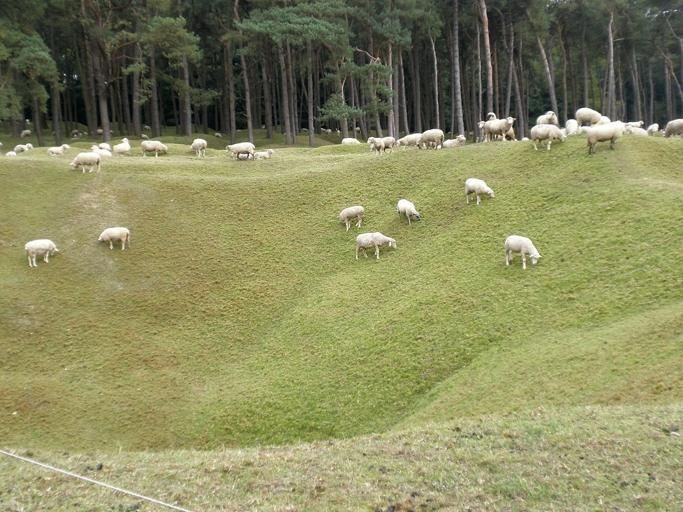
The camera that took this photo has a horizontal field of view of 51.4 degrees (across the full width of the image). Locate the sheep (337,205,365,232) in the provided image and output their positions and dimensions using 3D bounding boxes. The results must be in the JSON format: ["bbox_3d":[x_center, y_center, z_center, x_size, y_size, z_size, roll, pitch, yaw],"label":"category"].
[{"bbox_3d":[0.742,-2.621,49.765,1.651,1.695,1.364,-4,6,-1],"label":"sheep"}]

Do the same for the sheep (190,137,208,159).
[{"bbox_3d":[-12.892,-9.711,64.070,1.265,1.752,2.431,-5,6,-12],"label":"sheep"}]

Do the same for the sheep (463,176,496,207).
[{"bbox_3d":[9.482,-4.405,48.625,1.996,1.804,1.310,-2,6,18],"label":"sheep"}]

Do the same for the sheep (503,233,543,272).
[{"bbox_3d":[10.970,-0.243,43.015,1.010,1.903,2.525,-17,24,-34],"label":"sheep"}]

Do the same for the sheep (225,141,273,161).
[{"bbox_3d":[-8.017,-9.201,62.505,3.704,1.586,2.301,-1,6,26],"label":"sheep"}]
